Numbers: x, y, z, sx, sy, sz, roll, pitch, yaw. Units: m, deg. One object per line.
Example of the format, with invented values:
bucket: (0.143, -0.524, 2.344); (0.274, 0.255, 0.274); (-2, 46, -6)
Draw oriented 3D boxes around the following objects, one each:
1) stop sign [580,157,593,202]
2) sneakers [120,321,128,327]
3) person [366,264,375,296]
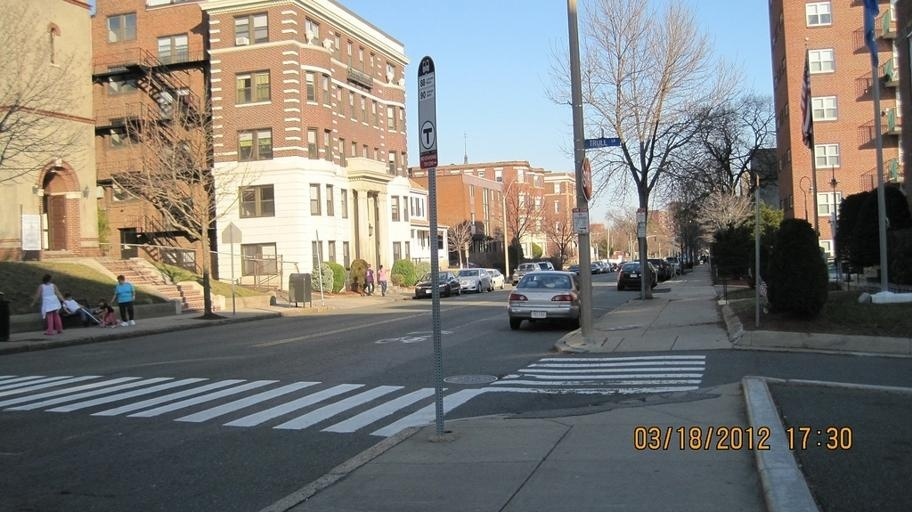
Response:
stop sign: (4.712, -2.795, 28.774); (0.141, 1.449, 0.568); (-7, -2, 39)
sneakers: (-15.675, 3.257, 37.869); (0.275, 0.211, 0.482); (-2, -3, -41)
person: (-6.079, 1.757, 57.234); (0.519, 1.729, 1.375); (-5, -2, -12)
